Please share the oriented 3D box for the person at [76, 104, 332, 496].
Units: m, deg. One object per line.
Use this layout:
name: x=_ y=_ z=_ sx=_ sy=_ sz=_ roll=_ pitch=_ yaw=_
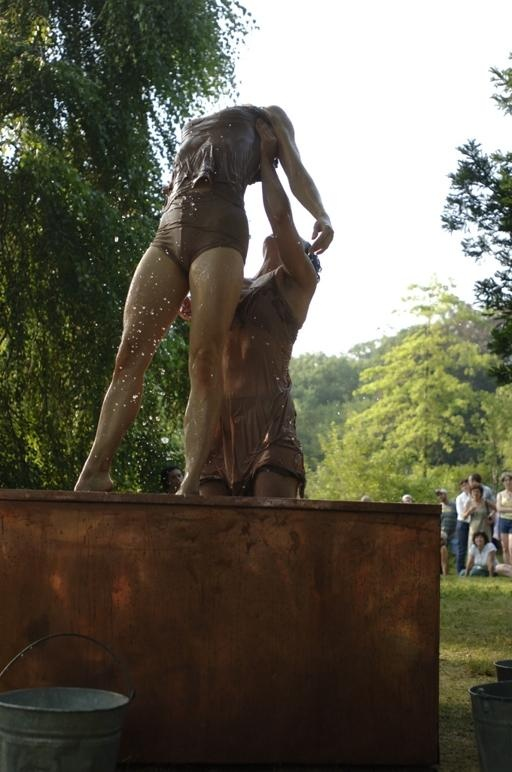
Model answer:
person: x=-0.219 y=-0.357 z=4.706 sx=0.982 sy=1.533 sz=0.458 roll=8 pitch=-10 yaw=-41
